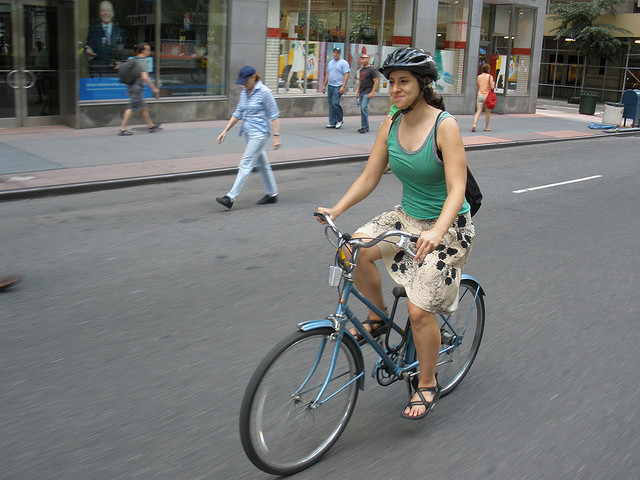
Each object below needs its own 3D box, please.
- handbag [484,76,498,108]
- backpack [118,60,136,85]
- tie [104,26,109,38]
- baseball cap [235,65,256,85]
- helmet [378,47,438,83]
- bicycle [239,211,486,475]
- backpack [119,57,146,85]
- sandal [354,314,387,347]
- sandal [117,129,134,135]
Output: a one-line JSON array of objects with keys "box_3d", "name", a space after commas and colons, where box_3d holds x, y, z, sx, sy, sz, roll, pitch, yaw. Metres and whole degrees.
[{"box_3d": [6.539, -5.638, 18.616, 0.349, 1.166, 1.046, 9, 14, 32], "name": "handbag"}, {"box_3d": [-5.576, -4.882, 14.198, 0.512, 0.657, 0.217, 2, 12, 5], "name": "backpack"}, {"box_3d": [-6.432, -6.364, 14.847, 0.118, 0.282, 0.024, -10, 17, -43], "name": "tie"}, {"box_3d": [-1.258, -2.836, 8.403, 0.271, 0.305, 0.261, 4, 12, 13], "name": "baseball cap"}, {"box_3d": [0.519, -1.023, 2.805, 0.262, 0.147, 0.372, 13, 9, 43], "name": "helmet"}, {"box_3d": [0.298, 0.511, 2.872, 0.431, 1.372, 1.766, 12, 16, 41], "name": "bicycle"}, {"box_3d": [-5.466, -4.956, 14.261, 0.662, 0.791, 0.347, -2, 13, -18], "name": "backpack"}, {"box_3d": [0.340, 0.541, 2.973, 0.290, 0.097, 0.097, -17, 7, -30], "name": "sandal"}, {"box_3d": [-5.508, -3.102, 13.946, 0.411, 0.150, 0.207, -6, 14, -35], "name": "sandal"}]
